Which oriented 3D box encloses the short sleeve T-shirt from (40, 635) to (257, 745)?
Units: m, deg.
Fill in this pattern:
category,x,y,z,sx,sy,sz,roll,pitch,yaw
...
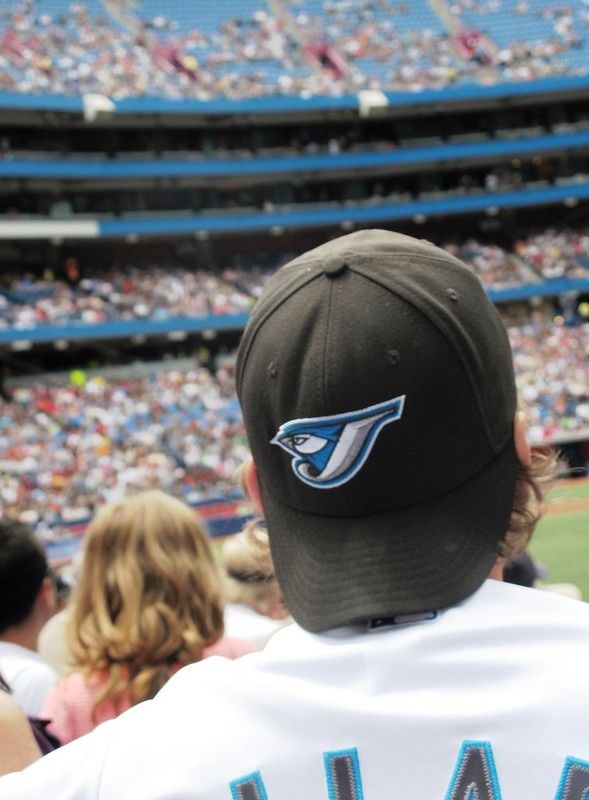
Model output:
category,x,y,z,sx,sy,sz,roll,pitch,yaw
short sleeve T-shirt,-0.390,0.756,2.913,0.620,0.166,0.344,-9,14,-31
